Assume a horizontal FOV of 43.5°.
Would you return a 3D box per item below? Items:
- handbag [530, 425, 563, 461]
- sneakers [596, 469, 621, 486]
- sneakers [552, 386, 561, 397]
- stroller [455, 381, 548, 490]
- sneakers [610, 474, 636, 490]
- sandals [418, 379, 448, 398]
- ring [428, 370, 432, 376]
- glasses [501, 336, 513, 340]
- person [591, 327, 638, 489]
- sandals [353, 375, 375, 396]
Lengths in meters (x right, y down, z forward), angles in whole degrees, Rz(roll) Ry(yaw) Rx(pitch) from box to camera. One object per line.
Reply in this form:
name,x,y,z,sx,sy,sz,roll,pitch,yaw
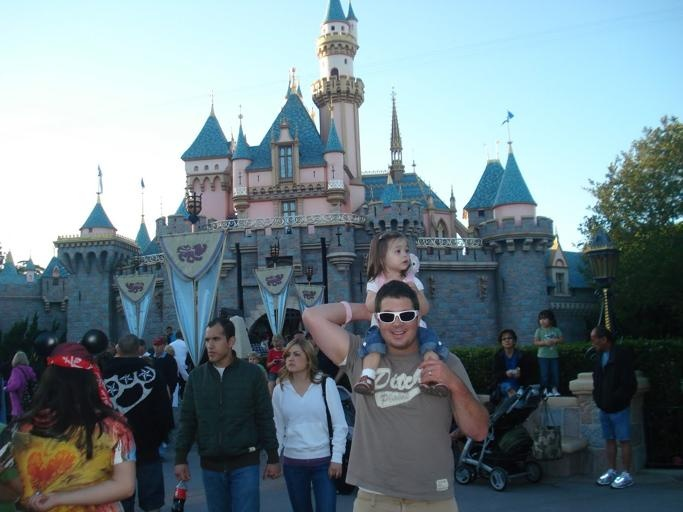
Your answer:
handbag,2.636,2.410,10.972,0.501,0.485,0.286,0,-12,-6
sneakers,3.369,2.816,10.811,0.364,0.152,0.126,-4,5,-38
sneakers,3.185,2.000,12.639,0.121,0.130,0.384,-2,3,15
stroller,2.075,2.342,10.963,1.399,1.551,0.986,-6,-10,40
sneakers,3.496,2.814,10.663,0.119,0.145,0.331,-4,-12,43
sandals,0.718,1.038,6.624,0.190,0.111,0.186,20,-9,-33
ring,0.684,0.901,6.566,0.026,0.025,0.006,-15,-5,-17
glasses,2.265,1.122,11.662,0.161,0.062,0.067,-2,3,20
person,3.419,1.896,10.812,0.443,1.990,0.542,-4,3,-29
sandals,0.184,1.021,6.736,0.171,0.149,0.112,-3,3,-2
